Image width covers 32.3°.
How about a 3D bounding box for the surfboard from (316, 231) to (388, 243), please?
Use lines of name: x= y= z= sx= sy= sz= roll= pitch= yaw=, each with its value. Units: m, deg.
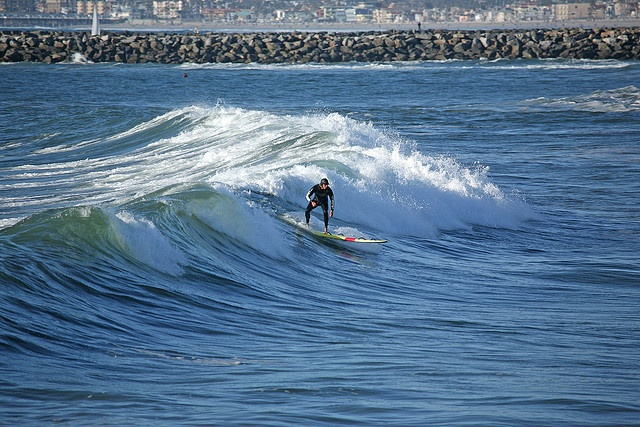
surfboard: x=0.842 y=0.700 z=33.749 sx=3.108 sy=0.300 sz=0.223 roll=1 pitch=28 yaw=-2
